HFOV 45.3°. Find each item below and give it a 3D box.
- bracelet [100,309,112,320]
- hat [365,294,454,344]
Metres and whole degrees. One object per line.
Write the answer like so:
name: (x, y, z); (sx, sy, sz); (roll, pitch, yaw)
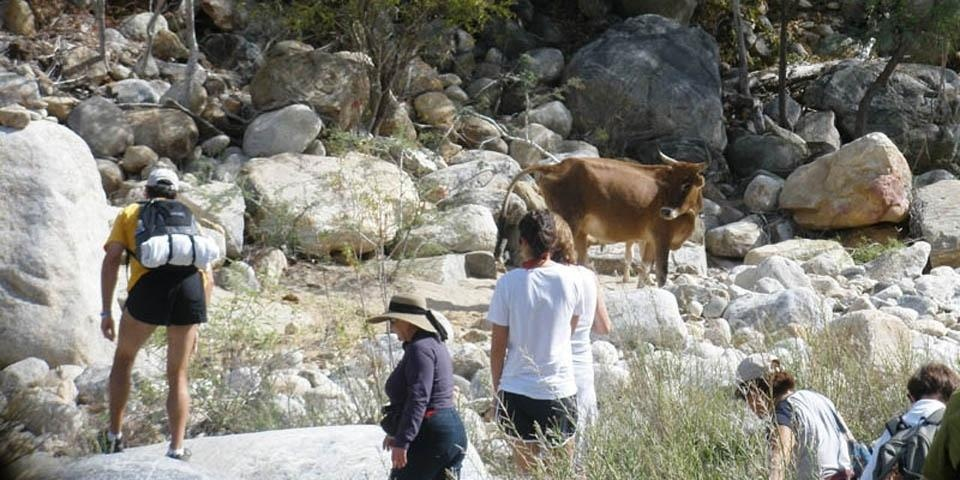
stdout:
bracelet: (-7.677, 1.517, 23.539); (0.218, 0.136, 0.206); (0, -5, 31)
hat: (-1.360, 1.542, 23.231); (1.229, 0.627, 1.084); (2, -1, -3)
